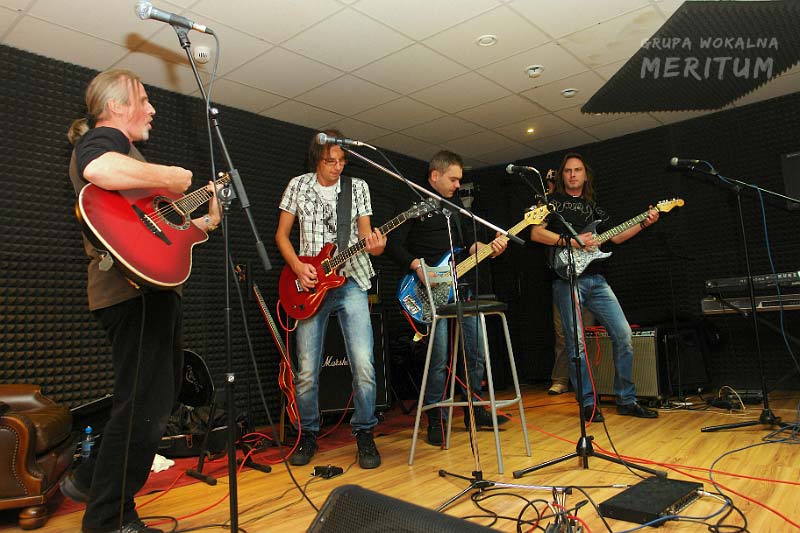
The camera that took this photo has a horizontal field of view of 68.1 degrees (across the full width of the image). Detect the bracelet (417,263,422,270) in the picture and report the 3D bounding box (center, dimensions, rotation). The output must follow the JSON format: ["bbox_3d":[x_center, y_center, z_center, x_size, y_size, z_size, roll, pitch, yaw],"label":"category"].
[{"bbox_3d":[0.157,-0.003,4.649,0.027,0.044,0.034,-4,-8,-27],"label":"bracelet"}]

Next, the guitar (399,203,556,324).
[{"bbox_3d":[0.749,-0.002,5.514,1.743,0.501,0.189,-31,6,-3],"label":"guitar"}]

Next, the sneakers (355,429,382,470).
[{"bbox_3d":[-0.231,1.362,4.426,0.188,0.269,0.252,-3,-9,-5],"label":"sneakers"}]

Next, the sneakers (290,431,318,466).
[{"bbox_3d":[-0.743,1.399,4.566,0.169,0.236,0.256,-5,-9,9],"label":"sneakers"}]

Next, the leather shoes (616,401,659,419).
[{"bbox_3d":[2.155,1.328,5.471,0.392,0.143,0.133,-5,-5,34],"label":"leather shoes"}]

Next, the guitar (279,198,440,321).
[{"bbox_3d":[-0.377,-0.003,4.515,1.232,0.773,0.315,-9,-11,30],"label":"guitar"}]

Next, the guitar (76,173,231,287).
[{"bbox_3d":[-1.407,-0.254,3.396,0.125,0.526,0.930,-38,11,20],"label":"guitar"}]

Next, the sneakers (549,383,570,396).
[{"bbox_3d":[1.811,1.417,6.804,0.100,0.097,0.286,-16,-20,30],"label":"sneakers"}]
